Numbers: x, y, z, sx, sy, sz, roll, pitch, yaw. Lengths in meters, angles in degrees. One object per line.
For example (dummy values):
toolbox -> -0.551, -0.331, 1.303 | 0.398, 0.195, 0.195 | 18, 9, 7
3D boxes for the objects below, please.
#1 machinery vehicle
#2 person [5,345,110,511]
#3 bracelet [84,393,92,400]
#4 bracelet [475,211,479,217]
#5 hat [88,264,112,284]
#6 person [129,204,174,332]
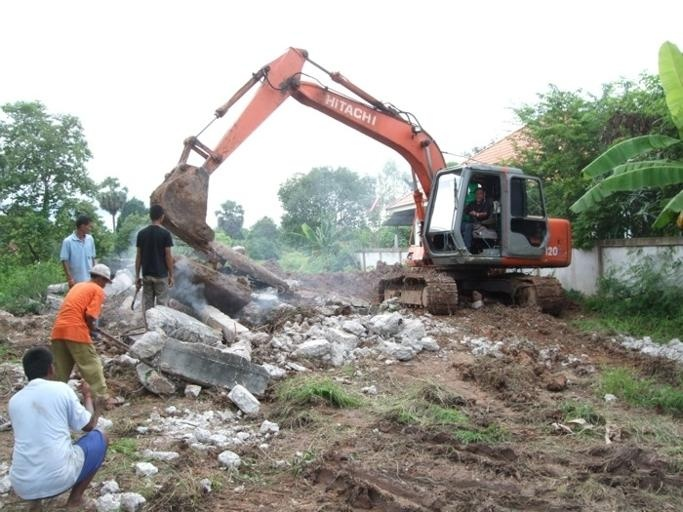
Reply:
machinery vehicle -> 0.717, -1.205, 11.079 | 8.381, 4.701, 2.607 | 3, 3, -19
person -> -2.575, 1.558, 5.003 | 0.778, 1.434, 0.258 | 5, -6, -34
bracelet -> -2.630, 1.469, 5.718 | 0.054, 0.054, 0.055 | -3, -20, -5
bracelet -> 2.570, -0.774, 10.454 | 0.074, 0.090, 0.046 | 0, -6, 13
hat -> -2.846, 0.218, 6.632 | 0.271, 0.152, 0.263 | 30, -12, -36
person -> -2.873, 0.085, 8.456 | 0.552, 1.806, 0.742 | 4, -6, -21
